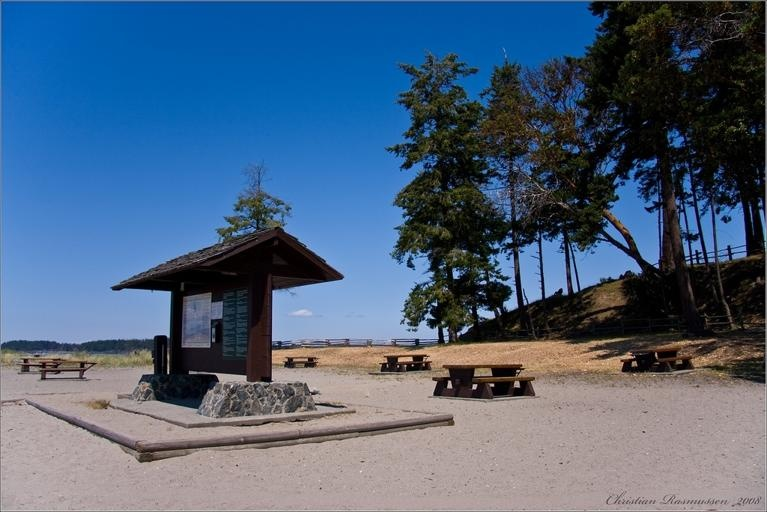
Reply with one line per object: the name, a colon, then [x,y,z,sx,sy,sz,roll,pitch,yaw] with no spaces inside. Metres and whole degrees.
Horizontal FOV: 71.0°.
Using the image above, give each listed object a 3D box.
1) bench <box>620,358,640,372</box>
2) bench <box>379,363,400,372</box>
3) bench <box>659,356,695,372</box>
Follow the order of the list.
bench: [11.367,5.098,25.074,0.471,0.503,0.816,-2,-3,10]
bench: [0.441,6.400,30.884,1.026,0.441,0.965,-1,-2,10]
bench: [12.637,4.730,23.569,1.786,0.631,1.086,2,-4,-42]
